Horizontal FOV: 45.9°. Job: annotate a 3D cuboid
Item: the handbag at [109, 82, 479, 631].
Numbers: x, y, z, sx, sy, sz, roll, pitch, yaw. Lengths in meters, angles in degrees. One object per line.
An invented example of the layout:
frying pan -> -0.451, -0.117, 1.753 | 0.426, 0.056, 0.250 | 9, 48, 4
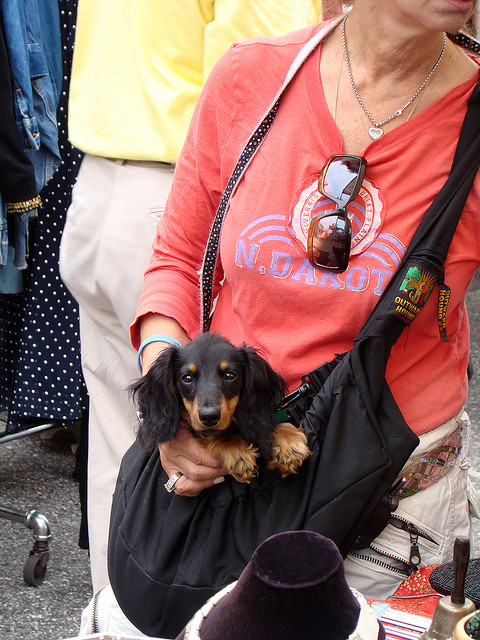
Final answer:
handbag -> 0.157, 0.087, 1.043 | 0.217, 0.642, 1.037 | 24, 70, 6

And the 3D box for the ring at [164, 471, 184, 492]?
ring -> -0.120, 0.299, 1.039 | 0.022, 0.035, 0.037 | 36, 16, 28

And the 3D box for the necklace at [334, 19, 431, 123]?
necklace -> 0.284, -0.480, 1.098 | 0.202, 0.049, 0.184 | 14, 70, 8

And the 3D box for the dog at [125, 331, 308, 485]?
dog -> -0.033, 0.169, 1.290 | 0.331, 0.286, 0.429 | -4, 10, 1

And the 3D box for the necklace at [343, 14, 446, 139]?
necklace -> 0.284, -0.452, 1.124 | 0.124, 0.015, 0.195 | 9, 76, 7
